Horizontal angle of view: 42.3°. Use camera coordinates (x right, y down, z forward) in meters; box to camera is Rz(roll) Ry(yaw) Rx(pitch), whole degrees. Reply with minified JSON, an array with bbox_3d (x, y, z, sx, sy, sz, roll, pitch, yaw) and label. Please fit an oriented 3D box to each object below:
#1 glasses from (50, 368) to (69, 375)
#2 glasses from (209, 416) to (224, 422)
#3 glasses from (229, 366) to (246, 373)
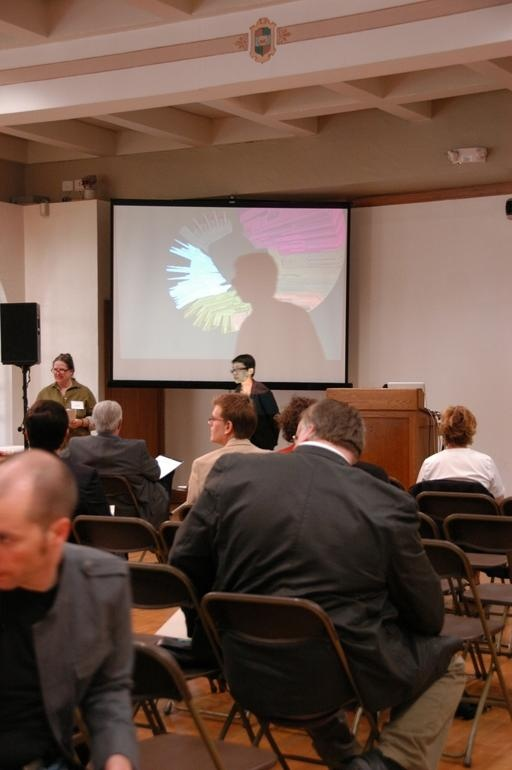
[{"bbox_3d":[-2.109,-0.141,7.114,0.174,0.081,0.086,1,0,17],"label":"glasses"},{"bbox_3d":[-0.203,0.175,3.346,0.051,0.015,0.049,6,-6,-16],"label":"glasses"},{"bbox_3d":[-0.186,-0.158,6.835,0.076,0.076,0.221,0,1,-32],"label":"glasses"}]
